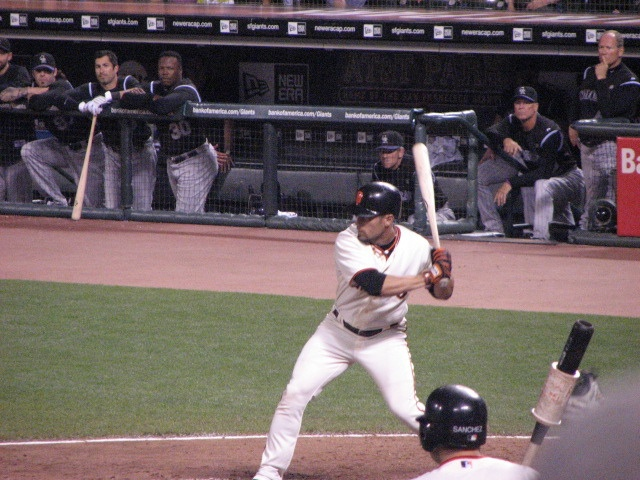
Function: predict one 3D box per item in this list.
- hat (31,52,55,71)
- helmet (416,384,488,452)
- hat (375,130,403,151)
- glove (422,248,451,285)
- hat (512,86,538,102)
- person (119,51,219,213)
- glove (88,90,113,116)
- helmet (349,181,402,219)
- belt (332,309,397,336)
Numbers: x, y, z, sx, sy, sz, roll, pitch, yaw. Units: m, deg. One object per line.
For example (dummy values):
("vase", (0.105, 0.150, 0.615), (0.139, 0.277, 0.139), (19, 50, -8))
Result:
("hat", (-4.139, -2.650, 16.024), (0.294, 0.252, 0.416), (1, 2, -2))
("helmet", (0.966, 1.286, 7.822), (0.574, 0.472, 0.438), (0, 4, 13))
("hat", (0.964, -1.342, 14.477), (0.248, 0.187, 0.343), (2, 4, 14))
("glove", (0.946, 0.225, 8.703), (0.203, 0.310, 0.123), (27, -44, -23))
("hat", (2.703, -1.918, 14.088), (0.296, 0.196, 0.262), (2, 7, 3))
("person", (-2.010, -1.521, 15.247), (1.361, 2.280, 0.509), (1, 8, -10))
("glove", (-3.123, -1.934, 15.154), (0.280, 0.332, 0.286), (-4, 10, -37))
("helmet", (0.444, -0.348, 8.734), (0.466, 0.261, 0.369), (3, 22, -12))
("belt", (0.378, 0.709, 8.732), (0.296, 0.075, 0.265), (-19, 50, -7))
